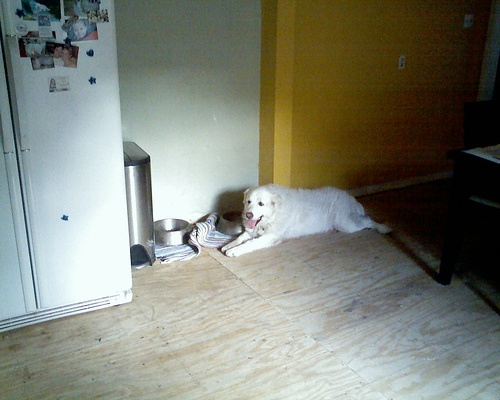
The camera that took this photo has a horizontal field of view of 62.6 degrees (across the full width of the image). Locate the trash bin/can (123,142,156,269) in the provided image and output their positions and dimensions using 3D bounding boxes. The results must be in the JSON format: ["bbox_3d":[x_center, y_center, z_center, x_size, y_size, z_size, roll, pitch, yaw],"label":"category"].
[{"bbox_3d":[-0.793,0.059,2.918,0.259,0.698,0.767,-3,16,-13],"label":"trash bin/can"}]

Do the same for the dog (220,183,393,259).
[{"bbox_3d":[0.479,0.093,3.610,1.324,0.523,0.420,-9,15,-4],"label":"dog"}]

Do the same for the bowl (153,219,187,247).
[{"bbox_3d":[-0.646,0.261,3.432,0.293,0.150,0.245,-7,24,-10],"label":"bowl"}]

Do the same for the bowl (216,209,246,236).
[{"bbox_3d":[-0.167,0.172,3.742,0.206,0.108,0.277,12,13,21],"label":"bowl"}]
